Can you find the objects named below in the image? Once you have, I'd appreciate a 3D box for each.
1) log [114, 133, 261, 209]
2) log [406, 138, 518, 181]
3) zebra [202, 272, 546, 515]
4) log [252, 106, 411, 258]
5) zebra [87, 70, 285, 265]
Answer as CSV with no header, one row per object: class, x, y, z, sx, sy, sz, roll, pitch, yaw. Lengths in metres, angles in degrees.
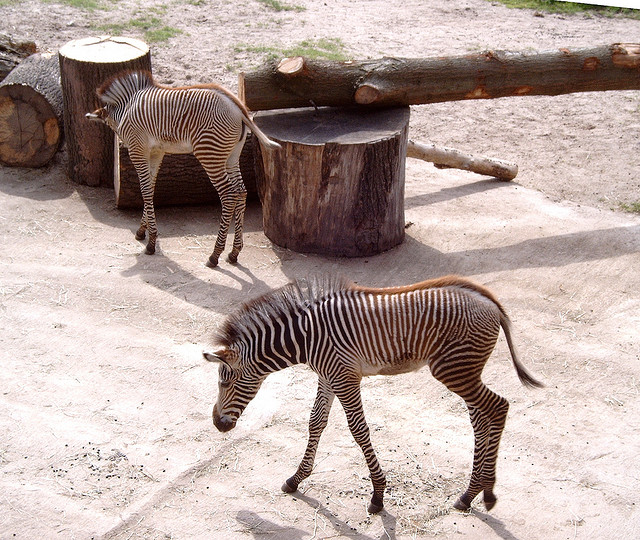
log,-1.732,-1.381,10.097,1.876,0.753,0.993,-3,28,-3
log,1.879,-1.399,11.236,1.870,0.338,0.332,10,44,-7
zebra,0.363,0.903,6.457,2.329,1.688,0.917,6,29,3
log,0.322,-1.038,9.856,2.291,1.187,1.678,-2,24,-2
zebra,-1.585,-1.126,9.466,3.049,1.911,0.804,10,15,34
